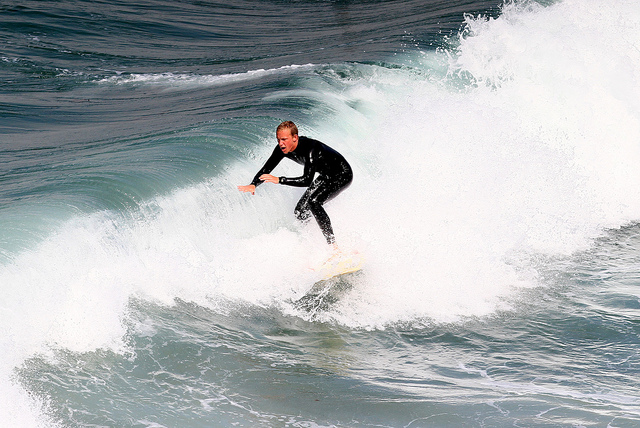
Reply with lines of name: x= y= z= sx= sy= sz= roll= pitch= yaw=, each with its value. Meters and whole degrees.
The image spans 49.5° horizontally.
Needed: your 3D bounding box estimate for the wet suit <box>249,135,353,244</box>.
wet suit: x=-0.188 y=-0.350 z=10.555 sx=1.367 sy=1.609 sz=0.457 roll=0 pitch=0 yaw=-26
